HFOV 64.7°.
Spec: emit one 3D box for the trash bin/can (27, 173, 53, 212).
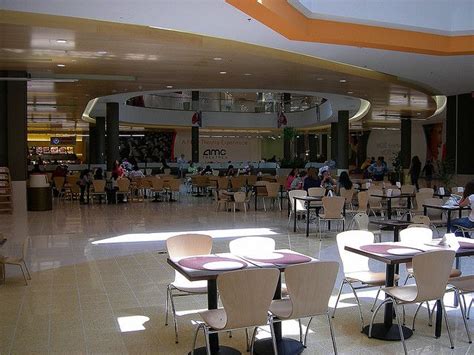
[{"bbox_3d":[-6.347,0.461,11.993,0.704,1.197,0.770,1,1,-10],"label":"trash bin/can"}]
